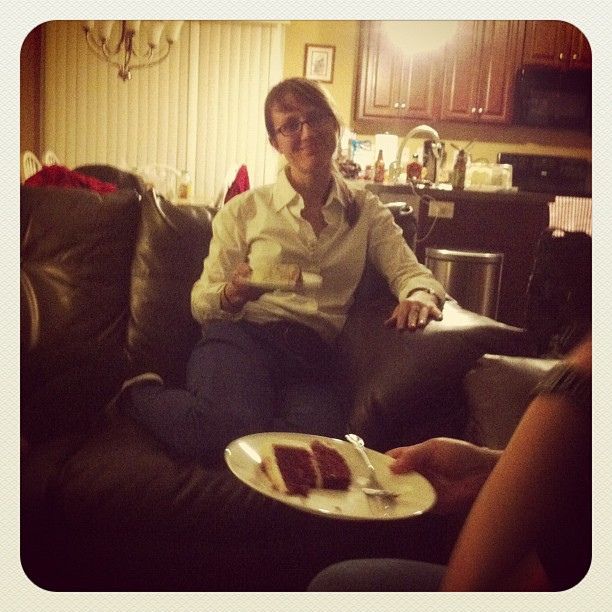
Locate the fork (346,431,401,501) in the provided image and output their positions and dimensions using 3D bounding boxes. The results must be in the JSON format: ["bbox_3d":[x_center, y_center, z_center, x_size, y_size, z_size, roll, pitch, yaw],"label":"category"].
[{"bbox_3d":[0.162,0.394,1.365,0.075,0.222,0.055,-23,-6,7],"label":"fork"}]

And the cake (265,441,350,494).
[{"bbox_3d":[0.004,0.391,1.413,0.149,0.126,0.035,-2,-21,-4],"label":"cake"}]

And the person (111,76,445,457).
[{"bbox_3d":[-0.043,-0.064,1.429,0.689,1.243,0.533,4,-2,-10],"label":"person"}]

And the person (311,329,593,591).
[{"bbox_3d":[0.425,0.341,1.816,0.577,0.907,0.602,4,2,0],"label":"person"}]

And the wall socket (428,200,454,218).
[{"bbox_3d":[0.342,-0.239,1.449,0.055,0.045,0.012,6,1,4],"label":"wall socket"}]
